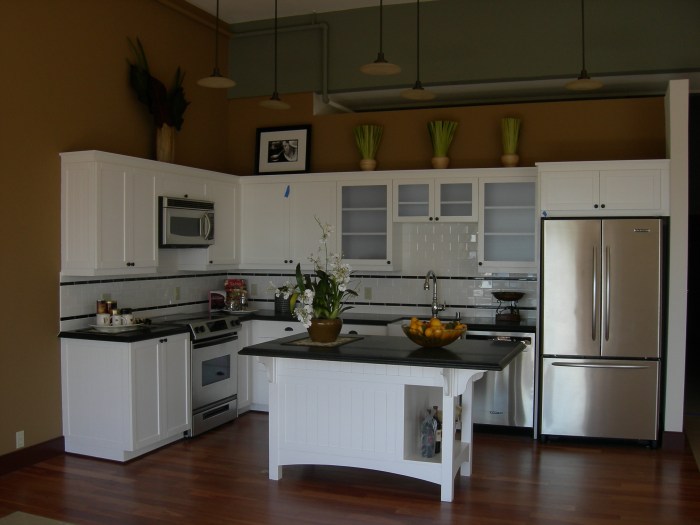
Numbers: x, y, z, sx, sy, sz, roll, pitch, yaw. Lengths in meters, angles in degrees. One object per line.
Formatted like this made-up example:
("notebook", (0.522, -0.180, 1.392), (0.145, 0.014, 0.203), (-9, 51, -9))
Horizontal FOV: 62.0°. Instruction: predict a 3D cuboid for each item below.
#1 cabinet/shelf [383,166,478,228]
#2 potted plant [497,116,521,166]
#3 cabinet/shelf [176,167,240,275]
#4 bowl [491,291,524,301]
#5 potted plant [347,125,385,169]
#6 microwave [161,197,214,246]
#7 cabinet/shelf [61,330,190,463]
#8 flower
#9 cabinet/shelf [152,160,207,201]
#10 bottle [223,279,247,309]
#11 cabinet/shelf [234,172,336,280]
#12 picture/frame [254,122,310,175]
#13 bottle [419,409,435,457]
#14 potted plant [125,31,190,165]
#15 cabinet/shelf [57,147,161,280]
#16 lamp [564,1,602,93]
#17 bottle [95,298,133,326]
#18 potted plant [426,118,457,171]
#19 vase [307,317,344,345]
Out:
("cabinet/shelf", (0.971, -0.758, 6.630), (0.954, 0.574, 0.196), (1, 5, 5))
("potted plant", (1.824, -1.369, 6.608), (0.236, 0.595, 0.320), (1, 5, 16))
("cabinet/shelf", (-1.541, -0.478, 7.070), (0.685, 1.073, 0.389), (-4, 20, -15))
("bowl", (1.772, 0.379, 6.516), (0.330, 0.140, 0.288), (2, 5, 16))
("potted plant", (0.183, -1.385, 7.210), (0.498, 0.677, 0.477), (1, -4, -10))
("microwave", (-1.810, -0.417, 6.363), (0.358, 0.533, 0.702), (2, 2, 34))
("cabinet/shelf", (-2.207, 1.269, 5.856), (1.043, 1.123, 1.142), (1, -2, 4))
("flower", (-0.251, 0.204, 5.094), (0.662, 0.913, 0.619), (1, 13, -23))
("cabinet/shelf", (-1.890, -0.782, 6.260), (0.299, 0.281, 0.568), (3, 3, 31))
("bottle", (-1.404, 0.388, 7.139), (0.223, 0.334, 0.323), (-1, 5, -19))
("cabinet/shelf", (-0.731, -0.442, 7.324), (1.191, 1.145, 0.450), (0, 2, 4))
("picture/frame", (-0.820, -1.419, 7.361), (0.710, 0.620, 0.056), (0, -6, 13))
("bottle", (0.645, 1.380, 4.723), (0.114, 0.361, 0.115), (0, 5, 0))
("potted plant", (-2.087, -1.780, 6.549), (0.292, 1.311, 0.826), (2, 5, 21))
("cabinet/shelf", (-2.301, -0.464, 5.549), (0.837, 1.139, 0.407), (-2, 5, -27))
("lamp", (2.415, -2.264, 5.990), (0.288, 1.132, 1.247), (2, 5, 21))
("bottle", (-2.300, 0.491, 5.710), (0.343, 0.341, 0.203), (2, -3, -20))
("potted plant", (1.053, -1.387, 6.815), (0.293, 0.614, 0.358), (3, 5, 29))
("vase", (-0.202, 0.573, 4.962), (0.232, 0.155, 0.238), (0, 2, 10))
